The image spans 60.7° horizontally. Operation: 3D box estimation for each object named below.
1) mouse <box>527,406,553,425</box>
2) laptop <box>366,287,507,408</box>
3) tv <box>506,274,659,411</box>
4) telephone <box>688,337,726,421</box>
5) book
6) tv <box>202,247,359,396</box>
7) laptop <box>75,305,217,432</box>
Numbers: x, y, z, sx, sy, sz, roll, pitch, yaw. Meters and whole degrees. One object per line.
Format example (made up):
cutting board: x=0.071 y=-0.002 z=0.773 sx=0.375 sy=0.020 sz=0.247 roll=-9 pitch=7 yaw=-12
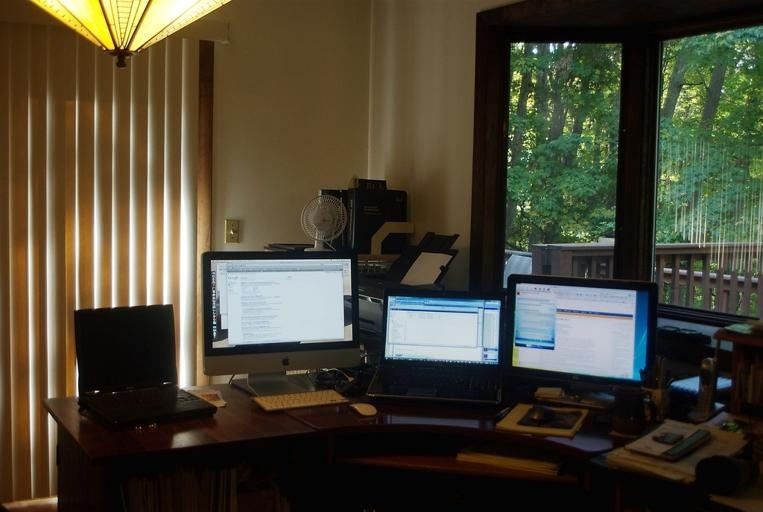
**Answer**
mouse: x=0.688 y=0.685 z=2.822 sx=0.076 sy=0.047 sz=0.074 roll=-2 pitch=5 yaw=-39
laptop: x=0.297 y=0.406 z=3.115 sx=0.684 sy=0.487 sz=0.411 roll=2 pitch=12 yaw=8
tv: x=0.928 y=0.395 z=2.998 sx=0.604 sy=0.518 sz=0.214 roll=2 pitch=-1 yaw=13
telephone: x=1.416 y=0.518 z=2.841 sx=0.147 sy=0.386 sz=0.074 roll=-10 pitch=14 yaw=-40
book: x=1.162 y=0.766 z=2.554 sx=0.265 sy=0.063 sz=0.270 roll=5 pitch=17 yaw=45
tv: x=-0.488 y=0.312 z=3.142 sx=0.702 sy=0.612 sz=0.309 roll=-1 pitch=-1 yaw=-13
laptop: x=-1.136 y=0.539 z=3.079 sx=0.556 sy=0.443 sz=0.608 roll=-1 pitch=5 yaw=-35
